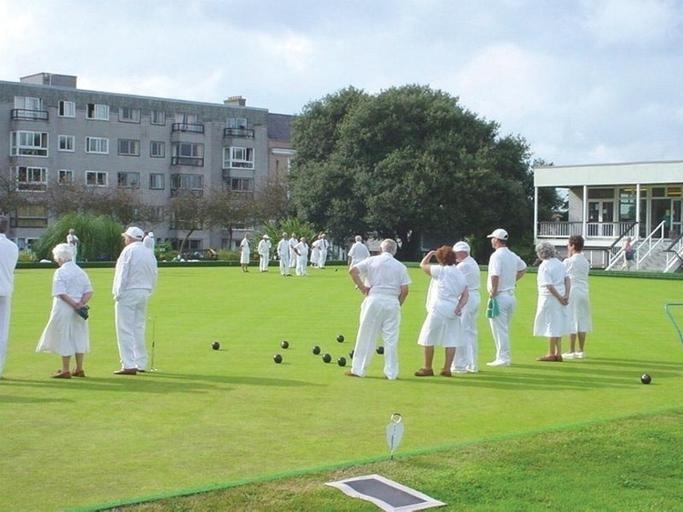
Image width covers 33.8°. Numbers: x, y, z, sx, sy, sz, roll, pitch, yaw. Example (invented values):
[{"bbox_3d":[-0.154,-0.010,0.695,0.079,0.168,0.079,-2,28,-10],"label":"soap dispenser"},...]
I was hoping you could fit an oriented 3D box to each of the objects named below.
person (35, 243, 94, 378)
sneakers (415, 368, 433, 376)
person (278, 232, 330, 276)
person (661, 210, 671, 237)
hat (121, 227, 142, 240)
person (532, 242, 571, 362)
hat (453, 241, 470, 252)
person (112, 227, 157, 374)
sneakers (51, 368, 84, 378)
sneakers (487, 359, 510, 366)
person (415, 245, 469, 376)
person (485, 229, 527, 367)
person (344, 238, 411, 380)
[{"bbox_3d":[-4.048,0.786,16.273,0.726,1.912,0.734,1,-2,-13],"label":"person"},{"bbox_3d":[1.205,1.714,16.612,0.218,0.074,0.116,2,-5,-20],"label":"sneakers"},{"bbox_3d":[-1.612,-0.053,44.442,1.875,1.416,0.710,6,37,9],"label":"person"},{"bbox_3d":[13.956,-1.404,47.882,0.372,1.189,0.951,0,-2,13],"label":"person"},{"bbox_3d":[-3.168,-0.329,16.743,0.266,0.125,0.200,2,-1,44],"label":"hat"},{"bbox_3d":[3.405,0.738,18.079,0.552,1.902,0.681,0,-2,10],"label":"person"},{"bbox_3d":[1.799,-0.144,17.162,0.274,0.135,0.201,6,2,30],"label":"hat"},{"bbox_3d":[-3.123,0.641,16.716,0.619,2.180,0.720,1,-2,-10],"label":"person"},{"bbox_3d":[-3.926,1.679,16.021,0.374,0.114,0.143,2,0,16],"label":"sneakers"},{"bbox_3d":[2.463,1.680,17.590,0.338,0.125,0.129,2,0,19],"label":"sneakers"},{"bbox_3d":[1.489,0.819,16.669,0.755,1.910,0.284,0,-2,4],"label":"person"},{"bbox_3d":[2.544,0.653,17.657,0.407,2.139,0.684,-1,-2,36],"label":"person"},{"bbox_3d":[0.535,0.772,16.565,0.885,2.045,0.864,1,-2,0],"label":"person"}]
